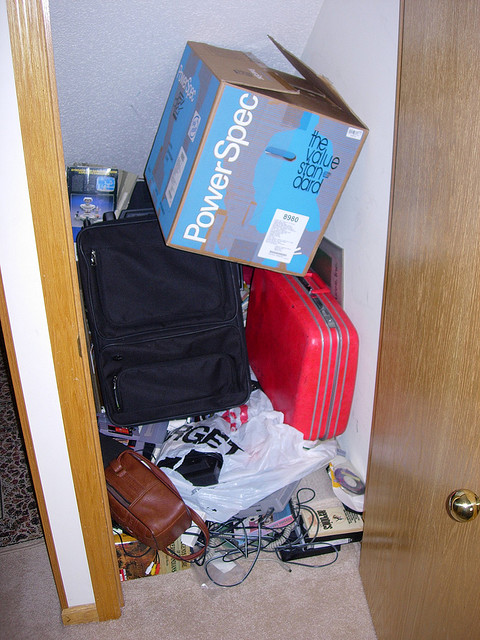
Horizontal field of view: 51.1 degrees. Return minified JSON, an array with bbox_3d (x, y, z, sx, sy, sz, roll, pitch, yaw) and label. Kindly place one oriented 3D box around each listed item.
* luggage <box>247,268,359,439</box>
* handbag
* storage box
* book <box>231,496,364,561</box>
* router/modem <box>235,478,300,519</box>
[{"bbox_3d":[0.205,0.108,1.534,0.153,0.400,0.430,-4,36,-16],"label":"luggage"},{"bbox_3d":[-0.253,0.522,1.409,0.354,0.124,0.204,29,31,25],"label":"handbag"},{"bbox_3d":[0.024,-0.491,1.381,0.426,0.509,0.511,10,29,-19],"label":"storage box"},{"bbox_3d":[0.197,0.631,1.507,0.266,0.072,0.201,-6,31,-7],"label":"book"},{"bbox_3d":[0.082,0.551,1.504,0.034,0.121,0.129,62,28,7],"label":"router/modem"}]
